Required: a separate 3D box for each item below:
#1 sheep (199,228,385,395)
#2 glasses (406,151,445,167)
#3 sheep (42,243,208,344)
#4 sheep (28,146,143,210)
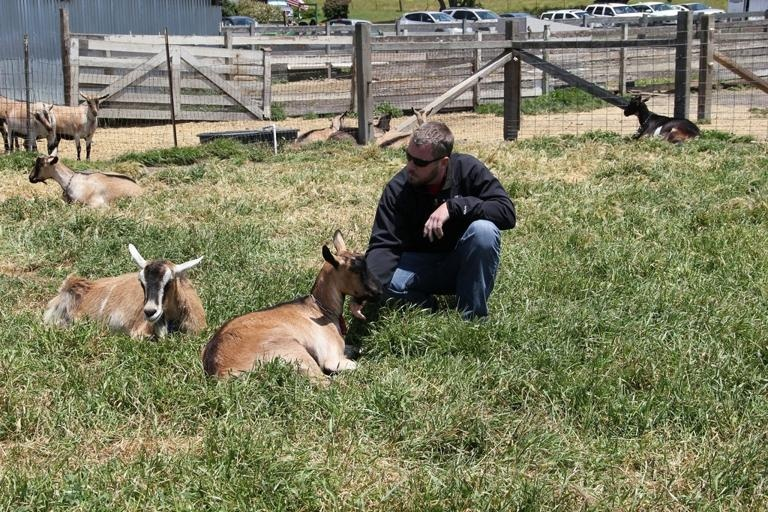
[{"bbox_3d":[-0.946,0.412,8.875,1.750,1.357,0.920,-14,21,-34],"label":"sheep"},{"bbox_3d":[0.412,-0.971,9.078,0.384,0.155,0.158,1,14,3],"label":"glasses"},{"bbox_3d":[-2.614,0.331,9.429,1.536,0.812,0.865,9,17,32],"label":"sheep"},{"bbox_3d":[-4.426,-1.151,13.413,1.733,0.649,0.856,6,15,22],"label":"sheep"}]
